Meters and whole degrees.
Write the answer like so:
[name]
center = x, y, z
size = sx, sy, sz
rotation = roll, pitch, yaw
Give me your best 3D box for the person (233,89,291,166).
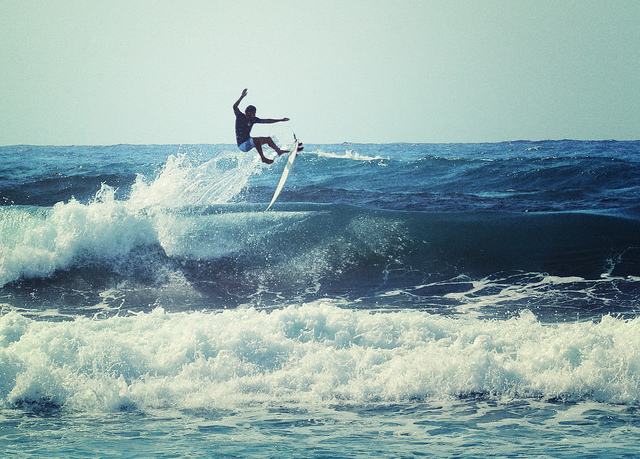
[person]
center = -1.537, -2.378, 25.114
size = 1.205, 1.303, 1.399
rotation = -2, -30, 5
